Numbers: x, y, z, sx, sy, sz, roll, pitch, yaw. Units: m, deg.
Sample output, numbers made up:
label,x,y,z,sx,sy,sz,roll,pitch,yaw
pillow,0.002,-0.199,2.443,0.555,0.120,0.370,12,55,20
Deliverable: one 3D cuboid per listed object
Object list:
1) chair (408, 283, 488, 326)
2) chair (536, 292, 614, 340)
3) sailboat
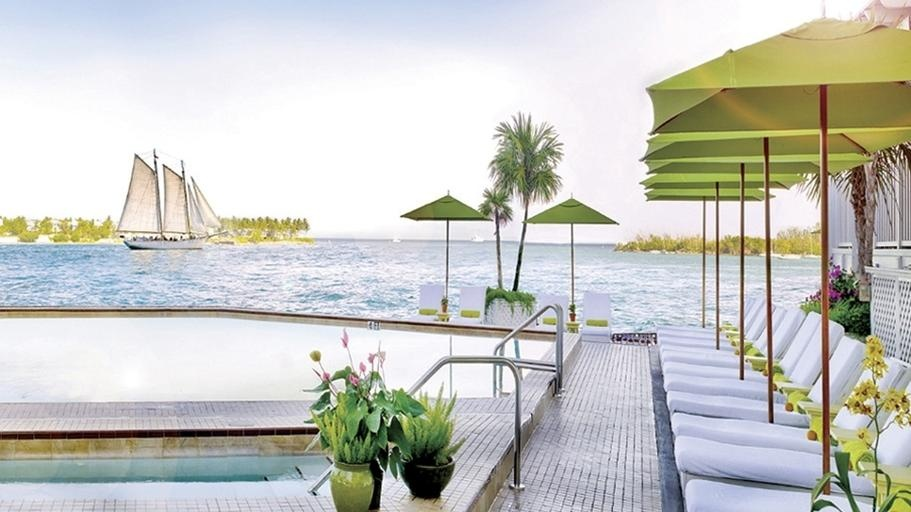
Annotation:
label,x,y,z,sx,sy,sz,roll,pitch,yaw
chair,-0.094,1.108,14.834,1.589,0.853,1.870,-1,1,12
chair,2.626,1.275,13.546,1.402,0.958,1.254,-1,1,16
sailboat,-20.060,-4.405,44.484,7.250,6.473,1.687,-2,5,-41
